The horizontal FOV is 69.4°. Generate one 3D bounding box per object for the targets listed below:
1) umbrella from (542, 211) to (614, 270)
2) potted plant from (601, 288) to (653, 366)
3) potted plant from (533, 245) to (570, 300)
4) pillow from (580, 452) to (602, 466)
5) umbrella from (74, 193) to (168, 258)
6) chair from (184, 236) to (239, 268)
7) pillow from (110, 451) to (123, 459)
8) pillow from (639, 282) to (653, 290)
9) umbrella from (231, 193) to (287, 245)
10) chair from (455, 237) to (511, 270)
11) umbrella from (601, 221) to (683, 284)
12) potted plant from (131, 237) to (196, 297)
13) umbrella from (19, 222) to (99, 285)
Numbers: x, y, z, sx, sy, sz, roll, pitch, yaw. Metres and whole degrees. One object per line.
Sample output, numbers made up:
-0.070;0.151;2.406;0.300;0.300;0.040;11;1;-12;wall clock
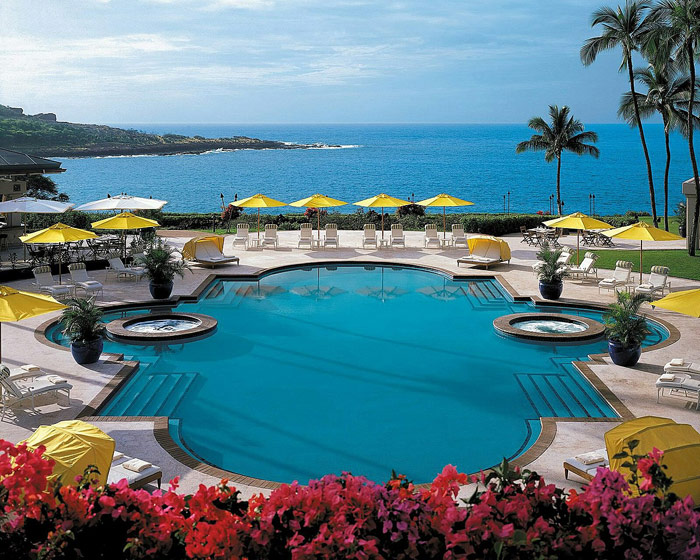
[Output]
9.176;-1.919;20.327;2.328;1.415;2.196;2;-1;-34;umbrella
6.788;1.242;12.452;0.908;1.601;1.035;3;14;27;potted plant
7.245;-0.262;18.170;1.027;1.807;1.389;1;12;20;potted plant
3.607;2.691;7.630;0.191;0.038;0.170;-4;5;-19;pillow
-8.849;-1.919;20.102;2.504;1.269;2.056;-2;-3;-13;umbrella
-6.357;-1.242;23.045;2.083;1.024;1.971;6;9;32;chair
-3.538;2.641;7.693;0.219;0.039;0.192;1;5;-23;pillow
10.324;0.225;17.671;0.353;0.108;0.453;1;4;36;pillow
-4.840;-3.342;26.734;3.054;2.089;2.721;-1;3;10;umbrella
6.155;-1.314;23.225;2.141;1.362;1.637;0;11;16;chair
10.646;-0.955;18.566;2.899;2.144;2.899;-9;12;-33;umbrella
-6.524;-0.344;17.769;2.116;1.793;1.743;-1;4;38;potted plant
-10.143;-0.831;17.759;3.069;1.815;2.634;0;3;1;umbrella
